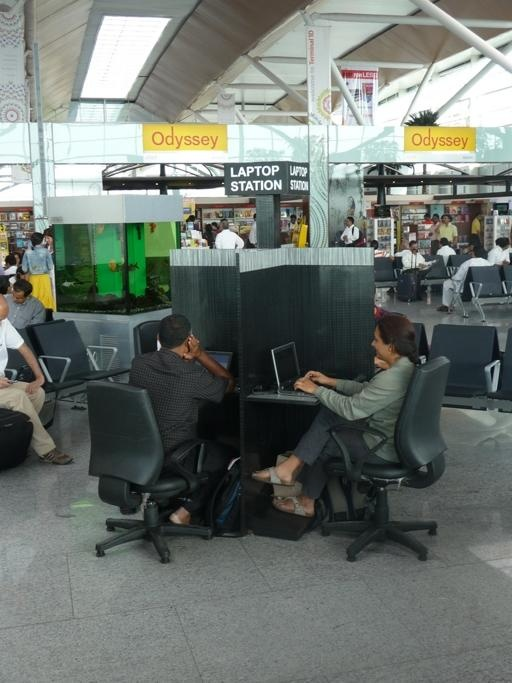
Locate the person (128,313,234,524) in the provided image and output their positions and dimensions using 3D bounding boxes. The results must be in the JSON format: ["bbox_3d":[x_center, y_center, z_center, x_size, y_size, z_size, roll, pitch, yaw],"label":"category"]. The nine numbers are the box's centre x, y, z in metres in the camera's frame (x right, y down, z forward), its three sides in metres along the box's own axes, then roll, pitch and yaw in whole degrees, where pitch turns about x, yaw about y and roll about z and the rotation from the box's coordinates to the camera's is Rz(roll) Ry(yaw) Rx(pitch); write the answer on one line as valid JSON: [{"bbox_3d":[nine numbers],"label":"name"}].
[{"bbox_3d":[-0.434,0.509,3.052,0.622,1.249,0.519,1,15,-9],"label":"person"}]

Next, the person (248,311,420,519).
[{"bbox_3d":[0.441,0.389,2.910,0.785,1.048,0.468,6,8,9],"label":"person"}]

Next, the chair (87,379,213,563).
[{"bbox_3d":[-0.548,0.610,2.829,0.545,0.812,0.583,2,-1,38],"label":"chair"}]

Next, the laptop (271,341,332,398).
[{"bbox_3d":[0.245,0.155,3.235,0.231,0.218,0.324,7,20,16],"label":"laptop"}]

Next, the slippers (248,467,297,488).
[{"bbox_3d":[0.089,0.742,3.031,0.256,0.084,0.108,3,1,7],"label":"slippers"}]

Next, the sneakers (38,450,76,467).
[{"bbox_3d":[-1.542,0.907,4.328,0.293,0.122,0.104,0,9,9],"label":"sneakers"}]

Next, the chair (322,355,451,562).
[{"bbox_3d":[0.618,0.590,2.828,0.631,0.869,0.582,-5,-7,43],"label":"chair"}]

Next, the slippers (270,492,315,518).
[{"bbox_3d":[0.210,0.913,3.164,0.205,0.069,0.111,12,2,10],"label":"slippers"}]
